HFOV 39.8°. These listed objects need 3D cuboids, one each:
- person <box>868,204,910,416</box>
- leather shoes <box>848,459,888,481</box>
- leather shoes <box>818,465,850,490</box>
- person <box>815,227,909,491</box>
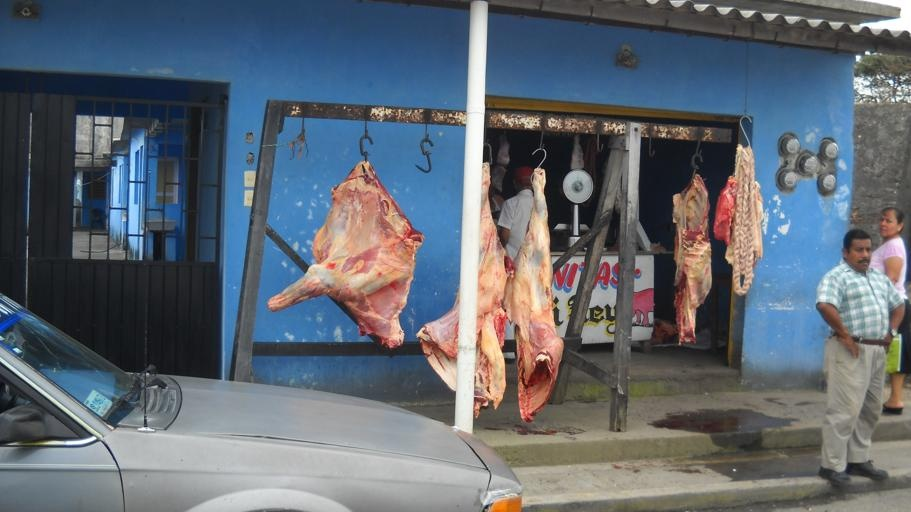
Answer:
[{"bbox_3d":[6.266,0.761,18.055,0.704,2.698,0.794,1,0,-2],"label":"person"},{"bbox_3d":[5.335,2.807,16.386,0.516,0.234,0.231,3,1,2],"label":"leather shoes"},{"bbox_3d":[4.886,2.901,16.345,0.207,0.190,0.409,-4,6,-41],"label":"leather shoes"},{"bbox_3d":[5.158,1.336,16.343,0.894,3.293,0.467,0,5,-13],"label":"person"}]
